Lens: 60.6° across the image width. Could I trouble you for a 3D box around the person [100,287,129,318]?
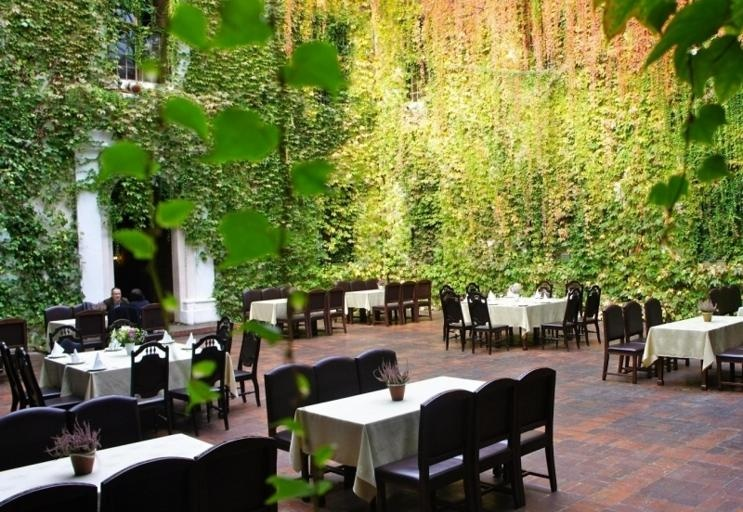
[{"bbox_3d":[-4.802,0.864,11.715,0.400,0.784,0.410,-1,-4,-35],"label":"person"}]
